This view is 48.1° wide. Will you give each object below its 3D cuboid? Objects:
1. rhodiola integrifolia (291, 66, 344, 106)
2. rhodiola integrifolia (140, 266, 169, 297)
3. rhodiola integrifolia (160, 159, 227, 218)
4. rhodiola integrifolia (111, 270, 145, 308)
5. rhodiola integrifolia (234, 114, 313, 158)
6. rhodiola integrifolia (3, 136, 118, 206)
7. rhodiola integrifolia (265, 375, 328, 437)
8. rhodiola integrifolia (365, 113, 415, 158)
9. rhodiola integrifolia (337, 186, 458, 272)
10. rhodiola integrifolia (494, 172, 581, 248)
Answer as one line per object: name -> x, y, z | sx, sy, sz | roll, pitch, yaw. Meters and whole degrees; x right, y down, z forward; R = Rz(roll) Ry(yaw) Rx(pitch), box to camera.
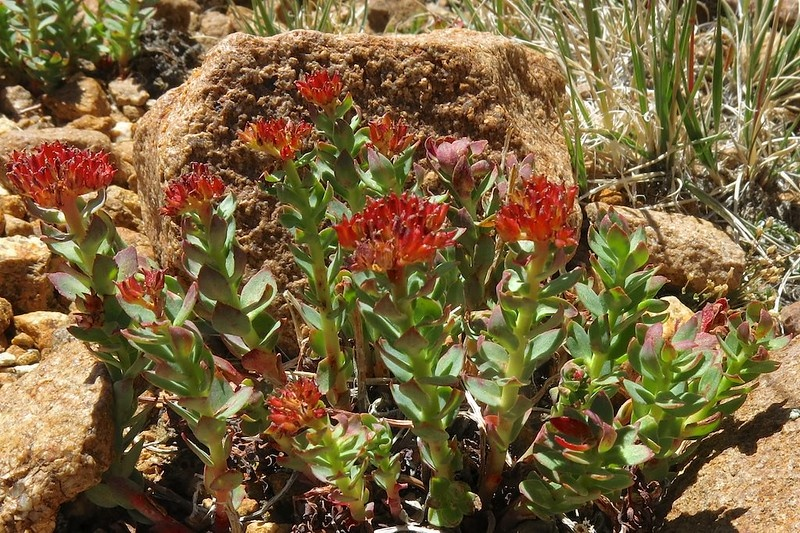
rhodiola integrifolia -> -0.327, -0.740, 3.688 | 0.169, 0.181, 0.150 | 1, 40, 9
rhodiola integrifolia -> -0.942, 0.073, 3.462 | 0.075, 0.136, 0.146 | -12, 40, -6
rhodiola integrifolia -> -0.839, -0.290, 3.520 | 0.215, 0.194, 0.212 | -32, 24, -33
rhodiola integrifolia -> -1.059, 0.092, 3.472 | 0.096, 0.103, 0.101 | -20, 6, 44
rhodiola integrifolia -> -0.507, -0.506, 3.579 | 0.222, 0.134, 0.222 | 1, -2, -4
rhodiola integrifolia -> -1.384, -0.363, 3.599 | 0.403, 0.236, 0.411 | -8, -2, -6
rhodiola integrifolia -> -0.391, 0.534, 3.401 | 0.216, 0.221, 0.152 | -27, 59, -22
rhodiola integrifolia -> -0.033, -0.529, 3.786 | 0.209, 0.228, 0.221 | -2, -5, -13
rhodiola integrifolia -> -0.025, -0.108, 3.180 | 0.305, 0.178, 0.321 | -13, 4, 28
rhodiola integrifolia -> 0.490, -0.155, 3.275 | 0.279, 0.166, 0.279 | -15, 21, -6
